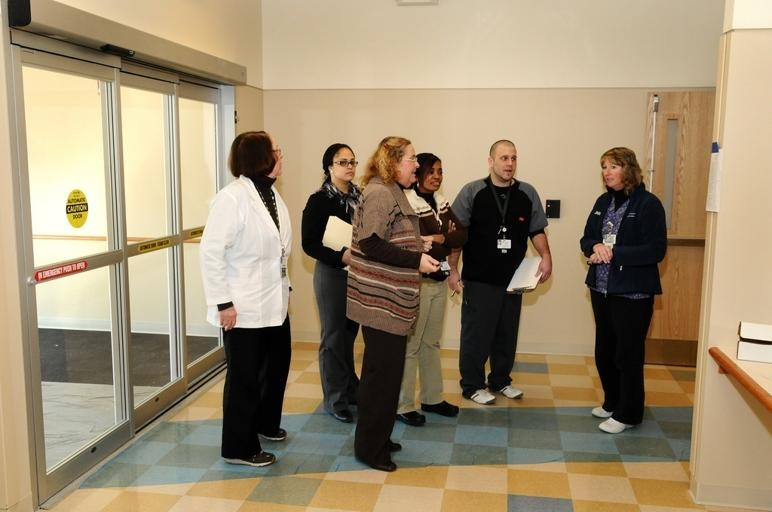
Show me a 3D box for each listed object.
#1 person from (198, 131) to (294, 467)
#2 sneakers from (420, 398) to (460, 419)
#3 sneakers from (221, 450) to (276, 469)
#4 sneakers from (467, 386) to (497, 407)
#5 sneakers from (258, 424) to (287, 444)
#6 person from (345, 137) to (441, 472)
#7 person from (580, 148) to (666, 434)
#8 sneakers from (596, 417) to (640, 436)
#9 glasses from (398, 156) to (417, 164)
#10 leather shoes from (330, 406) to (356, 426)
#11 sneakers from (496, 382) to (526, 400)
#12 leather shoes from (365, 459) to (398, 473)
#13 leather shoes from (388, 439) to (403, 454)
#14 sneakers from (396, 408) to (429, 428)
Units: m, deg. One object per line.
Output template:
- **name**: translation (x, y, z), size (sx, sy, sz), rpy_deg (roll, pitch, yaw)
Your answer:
- **person**: translation (-0.938, 0.308, 3.815), size (0.626, 2.282, 0.352), rpy_deg (-5, 9, -25)
- **sneakers**: translation (0.456, 1.261, 4.584), size (0.354, 0.134, 0.119), rpy_deg (-1, 0, 22)
- **sneakers**: translation (-0.961, 1.400, 3.877), size (0.378, 0.155, 0.126), rpy_deg (-2, -1, 1)
- **sneakers**: translation (0.809, 1.203, 4.756), size (0.111, 0.098, 0.256), rpy_deg (2, -4, -43)
- **sneakers**: translation (-0.828, 1.332, 4.129), size (0.241, 0.097, 0.086), rpy_deg (-2, 7, -4)
- **person**: translation (0.028, 0.340, 3.754), size (0.582, 2.256, 0.406), rpy_deg (-2, 8, -5)
- **person**: translation (1.838, 0.258, 4.345), size (0.547, 2.160, 0.516), rpy_deg (0, 8, 3)
- **sneakers**: translation (1.802, 1.335, 4.324), size (0.286, 0.099, 0.110), rpy_deg (3, -1, -14)
- **glasses**: translation (0.128, -0.633, 3.722), size (0.074, 0.022, 0.076), rpy_deg (-5, 4, -45)
- **leather shoes**: translation (-0.330, 1.276, 4.422), size (0.102, 0.067, 0.191), rpy_deg (1, -3, -43)
- **sneakers**: translation (1.087, 1.188, 4.856), size (0.219, 0.082, 0.101), rpy_deg (1, 5, 37)
- **leather shoes**: translation (-0.022, 1.430, 3.814), size (0.228, 0.086, 0.076), rpy_deg (1, 1, 11)
- **leather shoes**: translation (0.061, 1.384, 4.017), size (0.168, 0.115, 0.056), rpy_deg (0, 9, -1)
- **sneakers**: translation (0.207, 1.275, 4.368), size (0.233, 0.087, 0.111), rpy_deg (-3, -2, 25)
